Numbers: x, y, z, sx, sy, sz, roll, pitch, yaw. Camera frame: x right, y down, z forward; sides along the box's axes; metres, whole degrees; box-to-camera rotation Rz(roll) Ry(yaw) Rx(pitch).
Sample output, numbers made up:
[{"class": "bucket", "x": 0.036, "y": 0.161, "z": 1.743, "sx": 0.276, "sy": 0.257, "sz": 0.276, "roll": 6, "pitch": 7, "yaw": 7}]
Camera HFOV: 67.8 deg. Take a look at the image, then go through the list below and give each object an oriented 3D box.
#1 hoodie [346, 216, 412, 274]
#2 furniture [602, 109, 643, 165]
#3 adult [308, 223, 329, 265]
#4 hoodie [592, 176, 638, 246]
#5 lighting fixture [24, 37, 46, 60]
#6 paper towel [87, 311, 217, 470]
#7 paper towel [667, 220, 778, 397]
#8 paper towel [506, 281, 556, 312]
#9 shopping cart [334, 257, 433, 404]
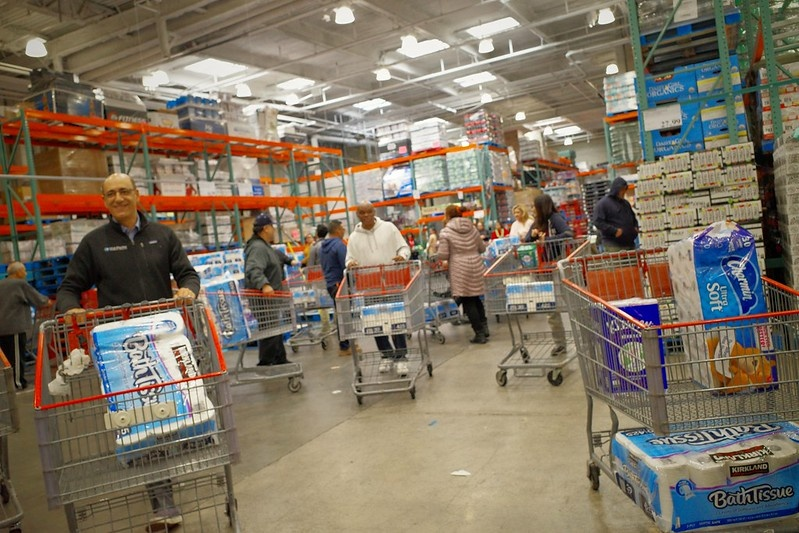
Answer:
[{"class": "hoodie", "x": -0.247, "y": -0.260, "z": 6.958, "sx": 0.831, "sy": 0.834, "sz": 0.521, "roll": -5, "pitch": -5, "yaw": 1}, {"class": "furniture", "x": 5.367, "y": -3.234, "z": 14.216, "sx": 0.989, "sy": 1.408, "sz": 1.211, "roll": 0, "pitch": 39, "yaw": 27}, {"class": "adult", "x": -1.327, "y": -0.310, "z": 10.311, "sx": 0.239, "sy": 0.701, "sz": 0.272, "roll": -9, "pitch": 2, "yaw": 43}, {"class": "hoodie", "x": 2.779, "y": -0.676, "z": 7.631, "sx": 0.581, "sy": 0.932, "sz": 0.450, "roll": -8, "pitch": 6, "yaw": 3}, {"class": "lighting fixture", "x": -6.788, "y": -4.124, "z": 11.154, "sx": 0.289, "sy": 0.384, "sz": 0.791, "roll": -11, "pitch": 6, "yaw": -23}, {"class": "paper towel", "x": -1.517, "y": 0.706, "z": 3.687, "sx": 0.698, "sy": 0.919, "sz": 0.251, "roll": -13, "pitch": -28, "yaw": -17}, {"class": "paper towel", "x": 1.856, "y": 0.221, "z": 3.420, "sx": 0.485, "sy": 0.936, "sz": 0.637, "roll": -6, "pitch": 6, "yaw": 24}, {"class": "paper towel", "x": 1.431, "y": 0.317, "z": 6.436, "sx": 0.623, "sy": 0.396, "sz": 0.317, "roll": -1, "pitch": 3, "yaw": 24}, {"class": "shopping cart", "x": -0.162, "y": 0.625, "z": 6.774, "sx": 0.959, "sy": 1.407, "sz": 1.497, "roll": -7, "pitch": 2, "yaw": 3}]
